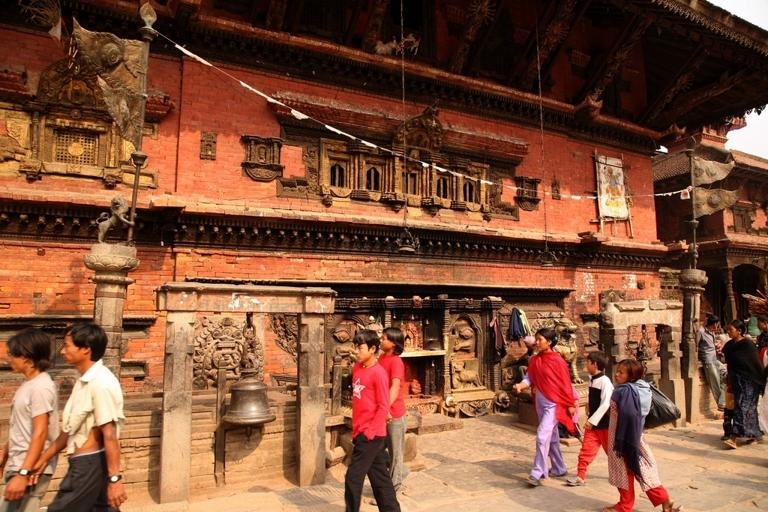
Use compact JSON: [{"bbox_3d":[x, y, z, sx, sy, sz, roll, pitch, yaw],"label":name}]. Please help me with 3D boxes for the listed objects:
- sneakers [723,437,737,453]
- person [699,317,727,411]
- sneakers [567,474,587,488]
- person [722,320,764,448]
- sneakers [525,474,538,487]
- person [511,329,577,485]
[{"bbox_3d":[7.817,4.206,13.301,0.173,0.157,0.474,4,-10,20],"label":"sneakers"},{"bbox_3d":[8.965,2.898,16.150,0.590,2.536,1.130,-7,-12,29],"label":"person"},{"bbox_3d":[3.753,4.380,11.548,0.308,0.120,0.183,-1,1,-15],"label":"sneakers"},{"bbox_3d":[8.195,2.894,13.527,0.890,2.796,0.958,7,-14,-37],"label":"person"},{"bbox_3d":[2.941,4.379,11.562,0.283,0.216,0.266,-3,-11,9],"label":"sneakers"},{"bbox_3d":[3.322,2.977,11.901,1.052,3.041,0.583,-2,-11,4],"label":"person"}]
